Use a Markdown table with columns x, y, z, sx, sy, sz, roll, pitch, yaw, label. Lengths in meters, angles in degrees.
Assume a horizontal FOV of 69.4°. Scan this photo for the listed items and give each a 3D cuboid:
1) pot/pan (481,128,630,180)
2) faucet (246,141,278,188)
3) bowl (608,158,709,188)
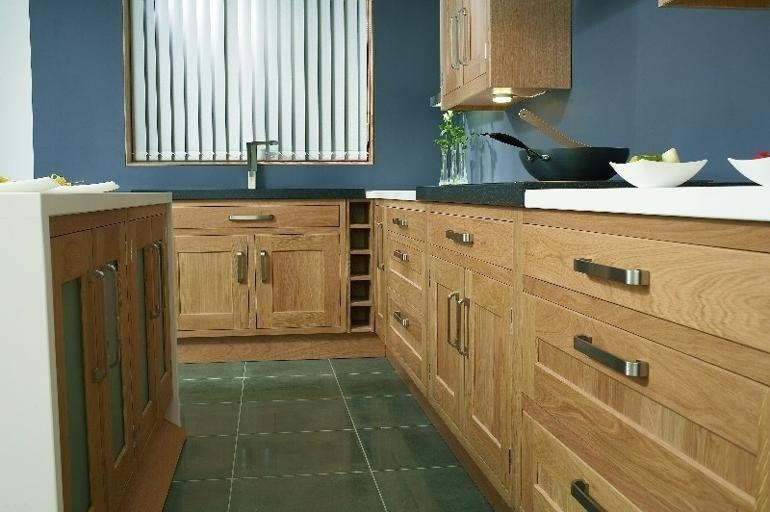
| x | y | z | sx | sy | sz | roll | pitch | yaw | label |
| --- | --- | --- | --- | --- | --- | --- | --- | --- | --- |
| 0.696 | -0.324 | 2.060 | 0.410 | 0.114 | 0.244 | 3 | -5 | -16 | pot/pan |
| -0.901 | -0.673 | 4.051 | 0.229 | 0.357 | 0.620 | -3 | 9 | -11 | faucet |
| 0.698 | -0.203 | 1.379 | 0.208 | 0.069 | 0.231 | 0 | 9 | 3 | bowl |
